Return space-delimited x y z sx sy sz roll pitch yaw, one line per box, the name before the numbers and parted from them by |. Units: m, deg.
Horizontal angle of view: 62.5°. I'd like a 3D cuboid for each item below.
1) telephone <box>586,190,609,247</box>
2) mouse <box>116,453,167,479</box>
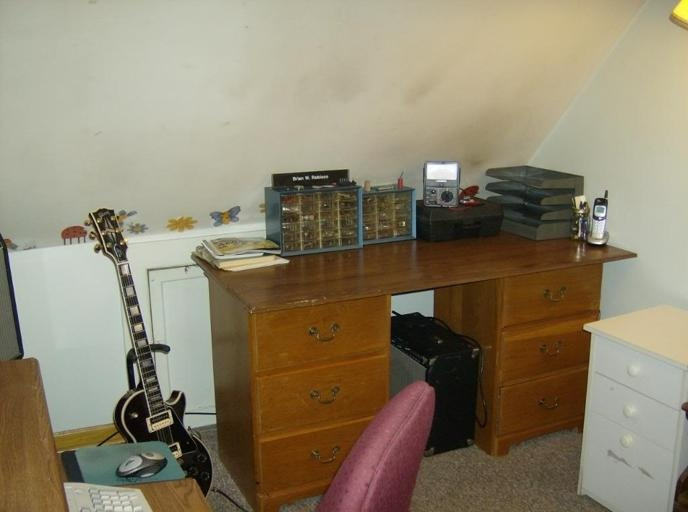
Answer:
telephone | 1.174 -0.175 2.599 0.101 0.245 0.094 4 22 21
mouse | -0.521 0.539 1.460 0.076 0.024 0.055 1 7 -22
